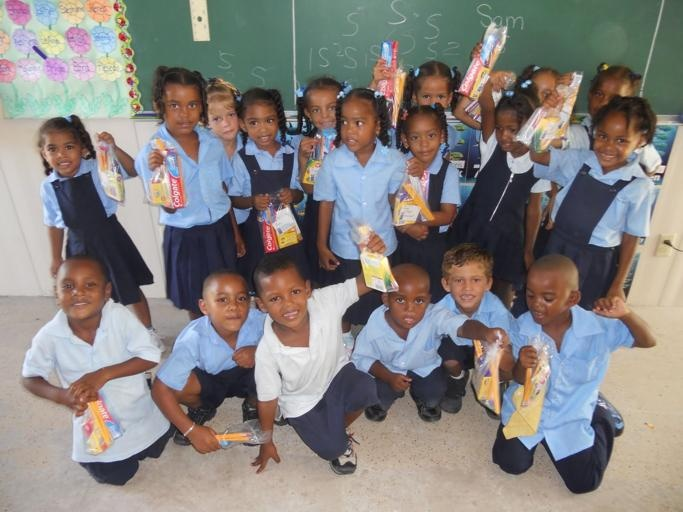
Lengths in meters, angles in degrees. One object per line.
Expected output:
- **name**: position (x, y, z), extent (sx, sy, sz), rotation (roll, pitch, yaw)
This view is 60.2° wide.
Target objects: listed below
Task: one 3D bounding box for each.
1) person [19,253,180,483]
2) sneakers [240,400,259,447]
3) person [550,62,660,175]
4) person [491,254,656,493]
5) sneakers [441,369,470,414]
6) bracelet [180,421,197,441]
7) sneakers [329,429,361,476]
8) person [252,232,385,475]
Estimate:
- **person**: position (-1.197, 0.569, 2.900), extent (0.551, 1.032, 0.484), rotation (16, 32, 27)
- **sneakers**: position (-0.483, 0.882, 3.207), extent (0.091, 0.113, 0.258), rotation (-12, 65, -18)
- **person**: position (1.631, -0.823, 3.614), extent (0.351, 0.664, 0.720), rotation (2, 14, -45)
- **person**: position (1.100, 0.588, 2.883), extent (0.624, 1.024, 0.539), rotation (17, 32, 28)
- **sneakers**: position (0.630, 0.786, 3.341), extent (0.090, 0.186, 0.278), rotation (0, 2, 18)
- **bracelet**: position (-0.750, 0.851, 2.896), extent (0.069, 0.082, 0.033), rotation (-12, -1, 4)
- **sneakers**: position (0.011, 1.010, 3.072), extent (0.098, 0.102, 0.239), rotation (8, 30, -25)
- **person**: position (-0.123, 0.473, 2.967), extent (0.629, 1.134, 0.590), rotation (1, 28, 1)
